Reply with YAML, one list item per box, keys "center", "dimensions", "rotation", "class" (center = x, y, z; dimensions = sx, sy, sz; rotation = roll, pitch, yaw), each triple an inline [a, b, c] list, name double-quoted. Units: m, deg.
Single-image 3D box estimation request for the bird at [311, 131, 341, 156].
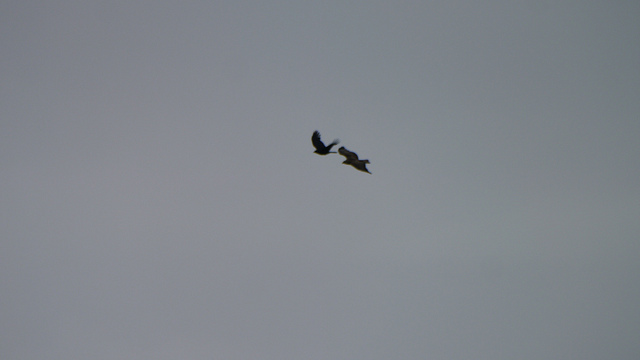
- center: [0.020, -0.152, 5.285]
  dimensions: [0.131, 0.057, 0.095]
  rotation: [14, -66, -12]
  class: "bird"
